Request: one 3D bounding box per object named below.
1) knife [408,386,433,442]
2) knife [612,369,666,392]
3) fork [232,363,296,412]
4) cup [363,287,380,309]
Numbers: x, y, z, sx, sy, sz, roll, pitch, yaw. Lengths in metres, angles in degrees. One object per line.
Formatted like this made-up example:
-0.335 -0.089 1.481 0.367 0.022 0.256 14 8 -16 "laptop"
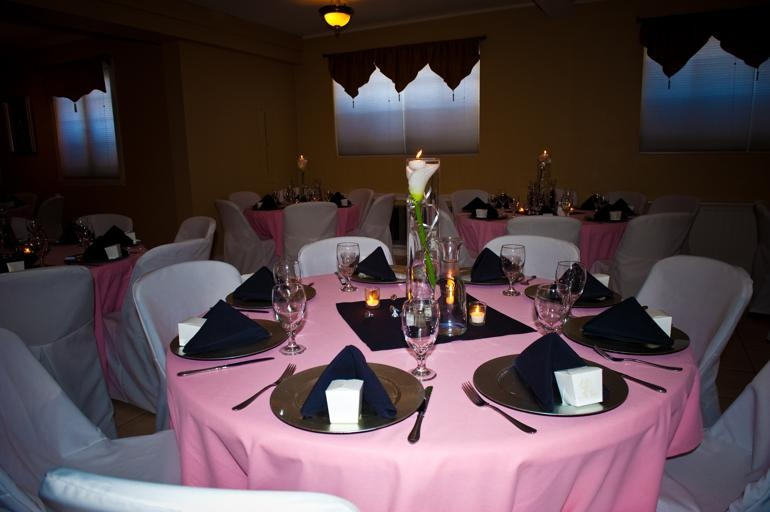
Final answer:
0.130 0.599 2.052 0.044 0.026 0.272 1 32 17 "knife"
1.014 0.497 2.155 0.147 0.017 0.018 24 2 42 "knife"
-0.482 0.527 2.147 0.034 0.041 0.265 14 26 24 "fork"
-0.063 0.209 2.786 0.080 0.105 0.087 0 2 0 "cup"
